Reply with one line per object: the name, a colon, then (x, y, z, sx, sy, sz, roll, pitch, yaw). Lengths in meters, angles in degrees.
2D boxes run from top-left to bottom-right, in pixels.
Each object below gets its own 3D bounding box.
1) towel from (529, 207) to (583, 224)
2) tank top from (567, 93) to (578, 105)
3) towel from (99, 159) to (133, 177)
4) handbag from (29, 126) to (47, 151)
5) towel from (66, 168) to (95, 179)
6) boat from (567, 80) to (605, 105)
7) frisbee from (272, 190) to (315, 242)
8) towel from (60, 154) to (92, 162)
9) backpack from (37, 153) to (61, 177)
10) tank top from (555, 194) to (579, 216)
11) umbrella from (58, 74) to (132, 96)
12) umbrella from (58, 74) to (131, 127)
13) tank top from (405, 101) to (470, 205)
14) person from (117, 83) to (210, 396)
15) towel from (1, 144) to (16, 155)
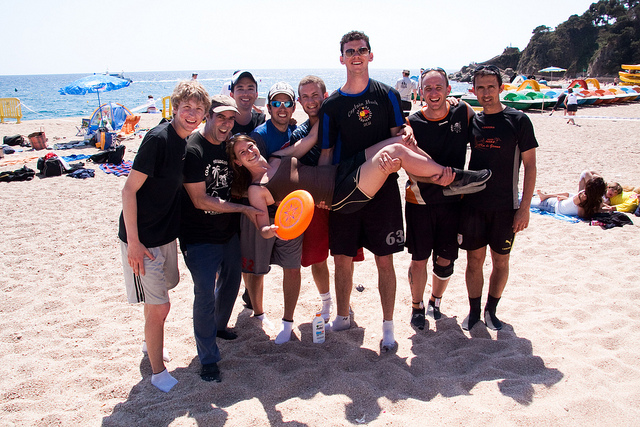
towel: (5.079, 0.016, 10.904, 0.465, 0.103, 1.131, -8, 19, -27)
tank top: (11.674, -5.330, 23.489, 0.355, 0.506, 0.587, -2, 18, -8)
towel: (-5.726, -1.270, 14.165, 0.977, 0.157, 1.029, 17, 29, 39)
handbag: (-9.721, -2.514, 17.523, 0.468, 0.604, 0.360, -11, 21, -32)
towel: (-6.511, -1.115, 13.959, 0.468, 0.173, 0.349, 2, 8, -5)
boat: (17.819, -8.139, 33.866, 2.052, 1.379, 7.339, 9, 19, 24)
frisbee: (-0.324, 0.007, 6.758, 0.193, 0.670, 0.698, 24, -30, -38)
towel: (-7.757, -1.798, 16.169, 0.364, 0.142, 1.208, 9, 12, 29)
backpack: (-7.435, -1.339, 13.992, 0.464, 0.534, 0.580, -14, 23, -40)
tank top: (5.229, -0.201, 10.895, 0.700, 0.379, 0.548, 5, 10, 44)
umbrella: (-9.132, -5.285, 20.757, 2.373, 0.768, 2.526, -2, 17, -9)
umbrella: (-8.769, -5.094, 20.584, 1.881, 1.229, 1.850, 26, 34, 29)
tank top: (1.673, -0.876, 7.235, 0.908, 1.415, 0.716, 2, 18, 5)
person: (-2.015, 0.295, 6.625, 0.738, 3.852, 1.101, 14, 22, 34)
towel: (-10.320, -2.156, 16.863, 0.322, 0.281, 0.552, -9, 20, -29)
